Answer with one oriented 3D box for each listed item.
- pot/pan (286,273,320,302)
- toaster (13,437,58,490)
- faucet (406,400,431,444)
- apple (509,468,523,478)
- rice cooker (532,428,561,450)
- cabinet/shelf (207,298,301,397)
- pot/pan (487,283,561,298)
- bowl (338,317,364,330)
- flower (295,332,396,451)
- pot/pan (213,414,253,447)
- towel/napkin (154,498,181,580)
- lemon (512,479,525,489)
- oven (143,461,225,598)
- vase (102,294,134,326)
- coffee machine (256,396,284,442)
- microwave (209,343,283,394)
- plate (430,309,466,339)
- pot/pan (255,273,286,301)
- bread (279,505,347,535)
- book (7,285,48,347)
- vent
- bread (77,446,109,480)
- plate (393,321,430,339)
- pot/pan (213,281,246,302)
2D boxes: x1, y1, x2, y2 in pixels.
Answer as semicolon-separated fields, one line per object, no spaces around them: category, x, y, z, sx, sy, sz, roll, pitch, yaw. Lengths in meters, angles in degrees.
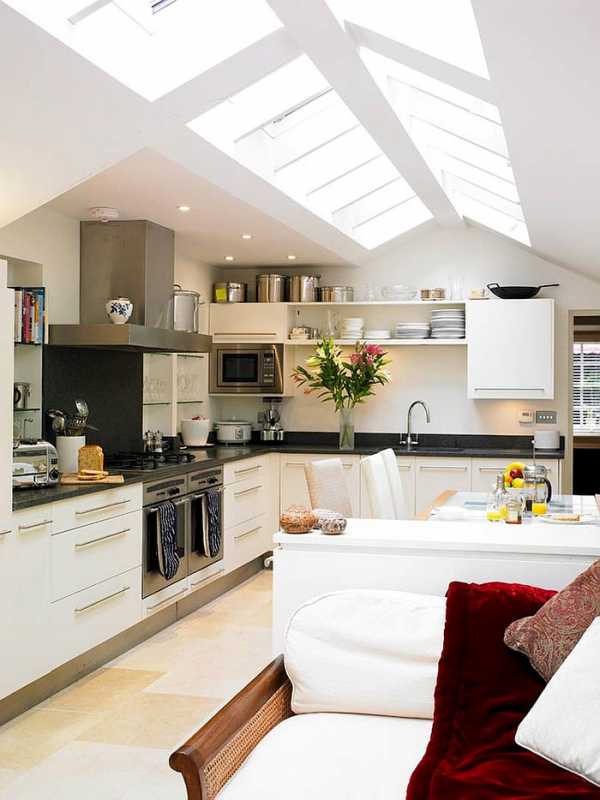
pot/pan;0.022;-1.034;5.877;0.272;0.229;0.269;-4;9;-24
toaster;-1.293;0.315;3.063;0.184;0.237;0.280;-1;-1;29
faucet;1.070;0.201;5.715;0.231;0.426;0.369;-2;-4;10
apple;1.135;0.379;3.305;0.058;0.051;0.050;22;-32;-27
rice cooker;2.066;0.325;5.323;0.176;0.154;0.178;1;2;35
cabinet/shelf;-0.405;-0.465;6.202;0.915;1.170;0.782;0;-4;5
pot/pan;1.887;-0.913;5.354;0.412;0.096;0.248;0;-1;-13
bowl;0.493;-0.699;5.876;0.236;0.130;0.220;-1;-4;0
flower;0.375;-0.047;5.749;0.827;1.007;0.783;-1;-4;-1
pot/pan;-0.629;0.303;6.017;0.338;0.254;0.395;-1;-4;-5
towel/napkin;-0.799;0.836;3.769;0.075;0.451;0.238;-1;-5;7
lemon;1.113;0.424;3.205;0.048;0.048;0.048;4;5;40
oven;-0.880;0.833;4.134;0.469;0.763;0.920;-1;1;22
vase;-1.097;-0.542;3.833;0.187;0.176;0.185;0;-2;-12
coffee machine;-0.289;0.191;6.118;0.260;0.448;0.246;-1;-5;4
microwave;-0.491;-0.288;5.825;0.722;0.502;0.431;0;-2;5
plate;1.329;-0.657;5.578;0.267;0.219;0.271;2;3;40
pot/pan;-0.268;-1.032;5.854;0.249;0.275;0.247;0;2;-6
bread;0.045;0.404;2.121;0.149;0.063;0.109;-1;-4;17
book;-1.535;-0.494;3.485;0.166;0.360;0.359;-1;-4;2
vent;-1.095;-0.752;4.324;0.638;0.810;1.195;5;4;19
bread;-1.151;0.342;3.488;0.178;0.195;0.176;-2;-2;8
plate;0.994;-0.608;5.606;0.198;0.076;0.177;0;1;35
pot/pan;-0.654;-0.995;5.896;0.218;0.129;0.214;-3;6;-33
